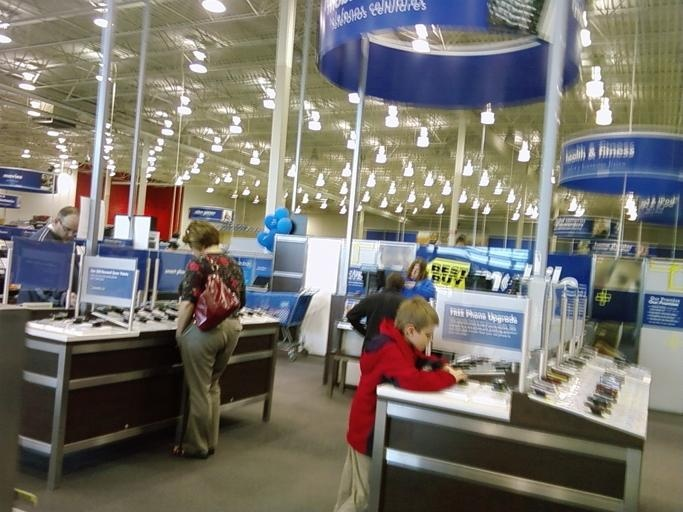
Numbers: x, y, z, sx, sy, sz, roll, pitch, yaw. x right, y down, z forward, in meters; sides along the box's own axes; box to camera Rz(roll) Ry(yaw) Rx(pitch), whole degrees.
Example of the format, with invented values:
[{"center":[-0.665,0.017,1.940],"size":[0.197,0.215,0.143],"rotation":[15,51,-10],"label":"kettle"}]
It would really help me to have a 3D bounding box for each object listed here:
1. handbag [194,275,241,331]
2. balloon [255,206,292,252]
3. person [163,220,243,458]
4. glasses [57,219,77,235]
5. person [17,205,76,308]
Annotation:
[{"center":[-1.004,0.375,3.985],"size":[0.169,0.319,0.284],"rotation":[30,-27,25],"label":"handbag"},{"center":[-1.131,-0.464,8.940],"size":[0.462,0.724,0.911],"rotation":[4,2,-29],"label":"balloon"},{"center":[-1.092,0.679,4.154],"size":[0.539,1.706,0.522],"rotation":[4,1,-24],"label":"person"},{"center":[-2.516,-0.270,4.621],"size":[0.108,0.085,0.142],"rotation":[13,4,-30],"label":"glasses"},{"center":[-2.577,-0.052,4.474],"size":[0.397,0.719,1.628],"rotation":[4,2,-29],"label":"person"}]
